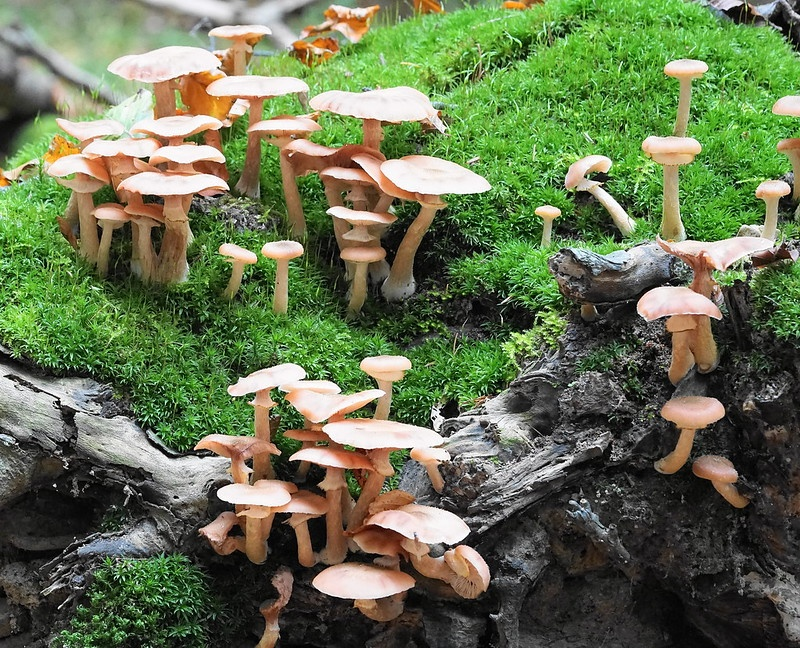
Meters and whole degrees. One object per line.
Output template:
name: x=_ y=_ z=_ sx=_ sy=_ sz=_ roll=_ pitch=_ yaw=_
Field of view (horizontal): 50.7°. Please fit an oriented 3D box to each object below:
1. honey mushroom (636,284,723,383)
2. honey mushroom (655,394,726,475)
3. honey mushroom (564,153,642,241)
honey mushroom: x=1.830 y=0.122 z=5.594 sx=0.611 sy=0.849 sz=0.424 roll=7 pitch=38 yaw=10
honey mushroom: x=1.898 y=0.766 z=5.678 sx=0.362 sy=0.703 sz=0.356 roll=12 pitch=40 yaw=16
honey mushroom: x=1.744 y=-1.134 z=7.233 sx=0.614 sy=0.795 sz=0.844 roll=9 pitch=35 yaw=13
